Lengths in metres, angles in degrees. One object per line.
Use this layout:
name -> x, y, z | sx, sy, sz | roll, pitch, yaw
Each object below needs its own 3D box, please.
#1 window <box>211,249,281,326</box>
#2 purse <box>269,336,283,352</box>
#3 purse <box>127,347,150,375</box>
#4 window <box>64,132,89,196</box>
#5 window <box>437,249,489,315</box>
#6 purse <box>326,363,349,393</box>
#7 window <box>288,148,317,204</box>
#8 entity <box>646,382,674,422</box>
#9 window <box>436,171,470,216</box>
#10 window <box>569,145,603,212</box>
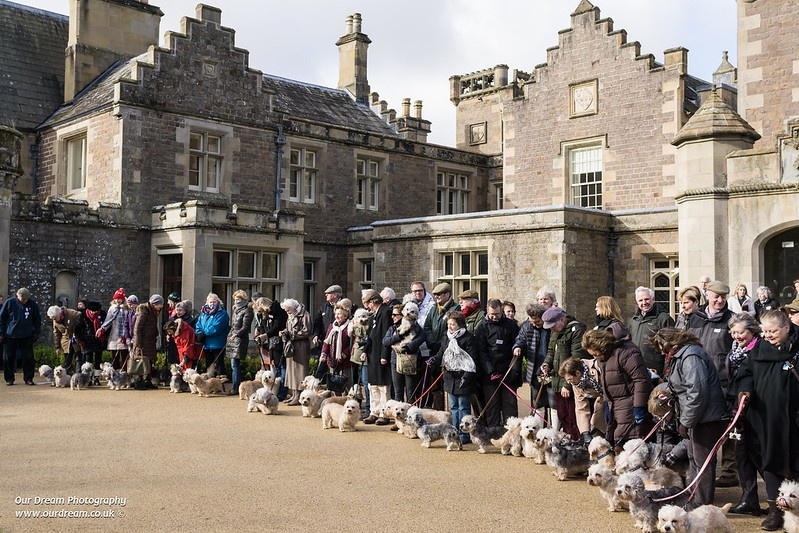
window -> -4.233, 0.385, 33.173 | 2.309, 1.806, 0.292 | 2, -2, -31
purse -> -2.786, 1.768, 27.310 | 0.344, 0.366, 0.260 | -3, 7, -11
purse -> -6.144, 2.244, 28.499 | 0.563, 0.855, 0.301 | -3, 8, 0
window -> -9.513, -2.930, 35.227 | 0.861, 1.693, 0.141 | -6, 8, 28
window -> 1.836, 0.371, 34.091 | 1.692, 1.551, 0.230 | -1, -7, -35
purse -> -1.361, 2.425, 26.283 | 0.521, 0.740, 0.213 | 11, 15, 21
window -> -2.975, -2.768, 36.711 | 0.190, 1.827, 1.519 | -5, -7, 43
entity -> 4.742, 2.434, 21.645 | 0.497, 0.675, 0.413 | 1, -4, 0
window -> 1.746, -2.413, 40.636 | 1.699, 1.535, 0.214 | 4, -3, -41
window -> 5.691, -2.733, 36.300 | 1.112, 2.171, 0.159 | -4, -34, 14
